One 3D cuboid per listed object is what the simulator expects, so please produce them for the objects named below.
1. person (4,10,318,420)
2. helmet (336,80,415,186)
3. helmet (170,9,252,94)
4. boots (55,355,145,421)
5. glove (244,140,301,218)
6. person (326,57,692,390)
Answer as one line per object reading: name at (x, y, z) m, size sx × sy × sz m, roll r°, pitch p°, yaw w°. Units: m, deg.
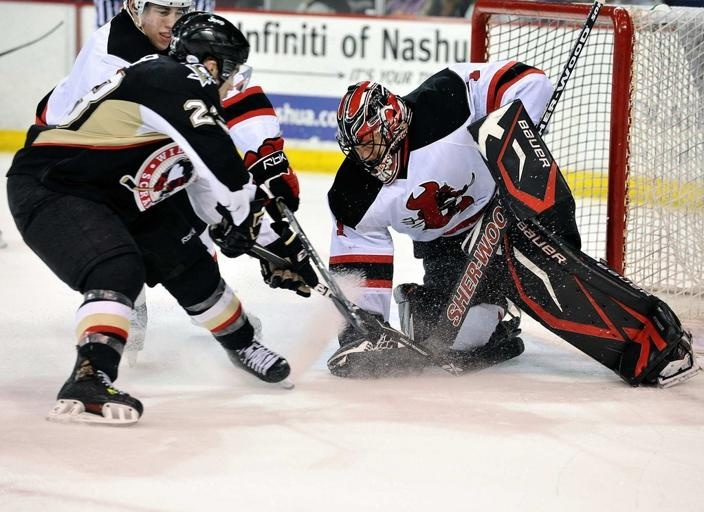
person at (-0.724, -0.157, 2.681) m, size 0.664 × 1.342 × 0.906 m, roll 15°, pitch 20°, yaw 42°
helmet at (0.086, -0.463, 2.986) m, size 0.290 × 0.384 × 0.194 m, roll -3°, pitch 15°, yaw -14°
helmet at (-0.513, -0.715, 2.763) m, size 0.303 × 0.234 × 0.237 m, roll -7°, pitch 23°, yaw -25°
boots at (-0.790, 0.441, 2.533) m, size 0.348 × 0.193 × 0.134 m, roll 3°, pitch -5°, yaw -3°
glove at (-0.299, -0.291, 3.104) m, size 0.208 × 0.313 × 0.111 m, roll -30°, pitch 27°, yaw -22°
person at (0.670, -0.103, 3.213) m, size 1.583 × 1.258 × 0.937 m, roll -4°, pitch 25°, yaw 26°
